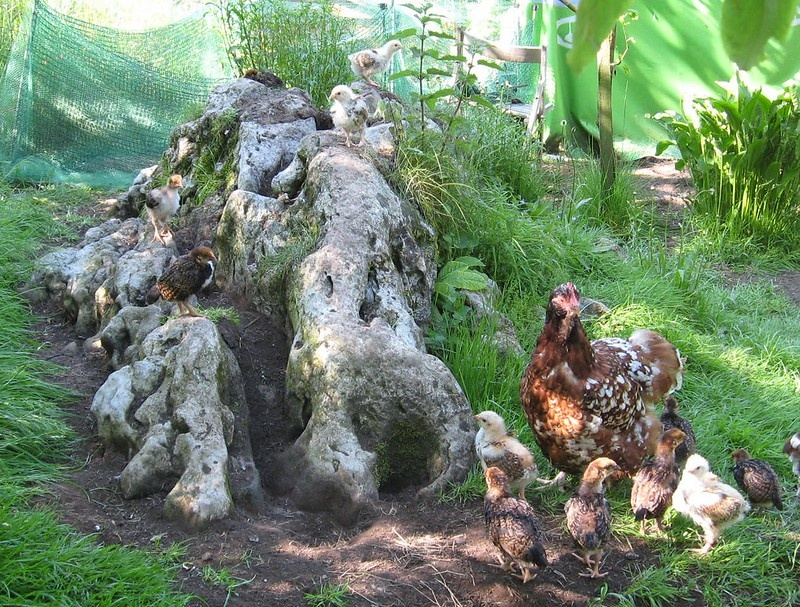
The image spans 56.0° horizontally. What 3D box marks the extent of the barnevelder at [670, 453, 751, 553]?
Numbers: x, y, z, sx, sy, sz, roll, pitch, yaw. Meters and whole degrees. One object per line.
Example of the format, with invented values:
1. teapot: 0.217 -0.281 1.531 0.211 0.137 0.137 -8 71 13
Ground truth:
1. barnevelder: 2.284 1.481 5.528 0.466 0.645 0.336 3 7 32

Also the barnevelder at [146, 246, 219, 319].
1. barnevelder: -1.951 -0.201 6.764 0.505 0.672 0.398 2 23 -13

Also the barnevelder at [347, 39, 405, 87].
1. barnevelder: -0.318 -2.991 9.253 0.595 0.565 0.353 11 17 2

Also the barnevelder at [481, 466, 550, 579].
1. barnevelder: 0.795 1.524 5.207 0.530 0.735 0.331 14 22 43

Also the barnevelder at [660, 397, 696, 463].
1. barnevelder: 2.306 1.101 6.445 0.267 0.517 0.494 -3 51 10

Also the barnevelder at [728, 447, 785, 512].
1. barnevelder: 2.802 1.419 5.956 0.265 0.451 0.557 -5 7 -12

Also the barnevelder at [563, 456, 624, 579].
1. barnevelder: 1.341 1.500 5.343 0.323 0.754 0.416 8 15 13
